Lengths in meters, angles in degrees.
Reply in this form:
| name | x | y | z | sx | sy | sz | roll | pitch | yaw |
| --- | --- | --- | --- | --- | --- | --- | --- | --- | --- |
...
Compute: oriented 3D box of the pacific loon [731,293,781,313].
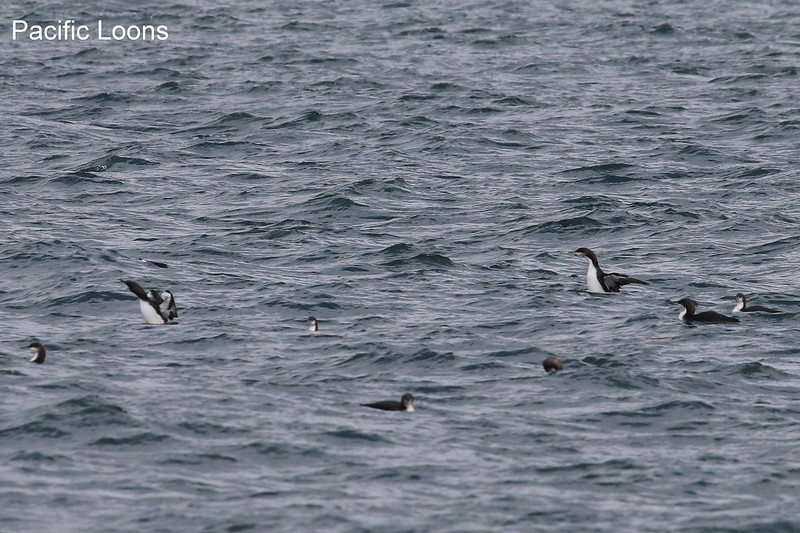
| name | x | y | z | sx | sy | sz | roll | pitch | yaw |
| --- | --- | --- | --- | --- | --- | --- | --- | --- | --- |
| pacific loon | 8.720 | 0.973 | 28.799 | 1.129 | 0.486 | 0.582 | 6 | 44 | 4 |
